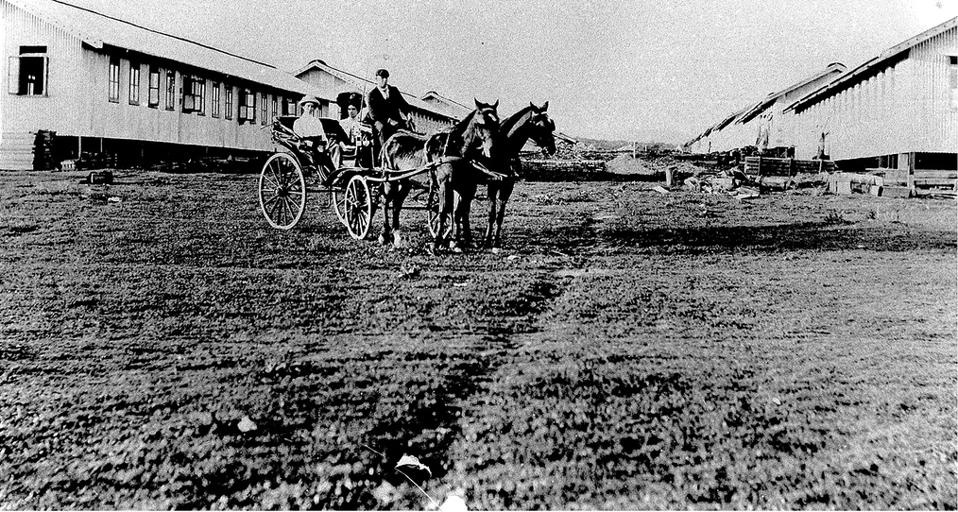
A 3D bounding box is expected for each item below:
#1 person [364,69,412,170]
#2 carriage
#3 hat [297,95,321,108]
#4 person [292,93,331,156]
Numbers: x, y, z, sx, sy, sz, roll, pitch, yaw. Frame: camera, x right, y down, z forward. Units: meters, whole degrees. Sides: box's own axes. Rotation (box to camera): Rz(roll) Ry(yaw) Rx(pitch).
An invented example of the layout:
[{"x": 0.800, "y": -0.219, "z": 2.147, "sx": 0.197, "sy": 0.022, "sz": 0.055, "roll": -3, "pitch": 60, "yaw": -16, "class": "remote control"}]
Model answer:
[{"x": -1.559, "y": -2.454, "z": 12.338, "sx": 0.822, "sy": 1.671, "sz": 0.993, "roll": -6, "pitch": 11, "yaw": -20, "class": "person"}, {"x": -1.683, "y": -1.617, "z": 13.258, "sx": 5.742, "sy": 2.745, "sz": 2.433, "roll": 3, "pitch": 11, "yaw": 26, "class": "carriage"}, {"x": -3.113, "y": -2.816, "z": 12.672, "sx": 0.276, "sy": 0.109, "sz": 0.275, "roll": 0, "pitch": 4, "yaw": 5, "class": "hat"}, {"x": -3.092, "y": -2.420, "z": 12.688, "sx": 0.632, "sy": 0.976, "sz": 0.591, "roll": -5, "pitch": 4, "yaw": -28, "class": "person"}]
